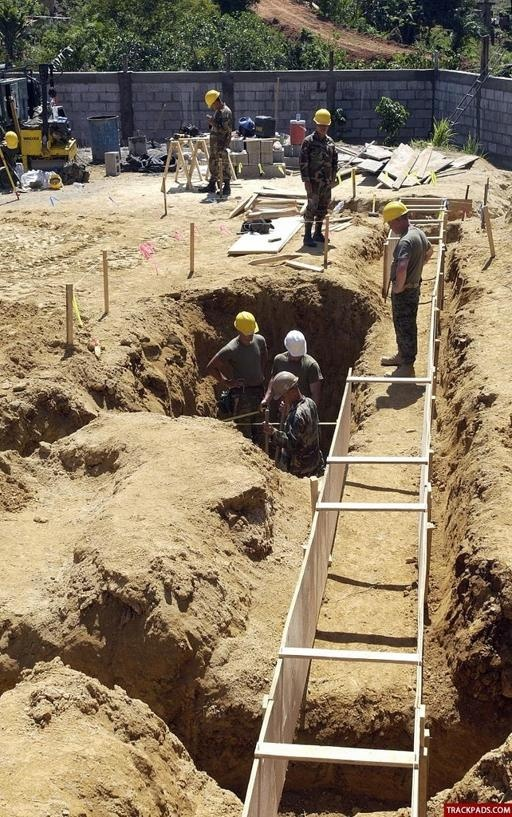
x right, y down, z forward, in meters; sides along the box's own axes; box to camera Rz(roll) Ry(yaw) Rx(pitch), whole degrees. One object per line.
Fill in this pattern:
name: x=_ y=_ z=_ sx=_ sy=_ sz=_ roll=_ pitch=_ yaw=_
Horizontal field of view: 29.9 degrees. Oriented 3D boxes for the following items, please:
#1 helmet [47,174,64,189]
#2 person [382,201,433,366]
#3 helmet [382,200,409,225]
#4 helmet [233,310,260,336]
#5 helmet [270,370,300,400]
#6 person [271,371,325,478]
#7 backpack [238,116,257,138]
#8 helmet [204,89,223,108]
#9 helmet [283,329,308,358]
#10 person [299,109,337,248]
helmet: x=-3.902 y=-4.421 z=18.735 sx=0.276 sy=0.327 sz=0.234 roll=-5 pitch=-9 yaw=-4
person: x=1.503 y=-1.158 z=9.560 sx=0.494 sy=1.733 sz=1.067 roll=0 pitch=13 yaw=8
helmet: x=1.353 y=-1.859 z=9.308 sx=0.260 sy=0.136 sz=0.207 roll=-7 pitch=31 yaw=38
helmet: x=-0.131 y=-0.925 z=10.215 sx=0.238 sy=0.156 sz=0.290 roll=-22 pitch=54 yaw=-22
helmet: x=0.253 y=-0.212 z=8.666 sx=0.221 sy=0.259 sz=0.325 roll=-1 pitch=12 yaw=0
person: x=0.395 y=0.163 z=9.199 sx=0.375 sy=0.430 sz=1.135 roll=9 pitch=-25 yaw=14
backpack: x=-0.188 y=-6.071 z=20.893 sx=0.310 sy=0.430 sz=0.645 roll=-3 pitch=12 yaw=-5
helmet: x=-0.744 y=-5.202 z=16.212 sx=0.194 sy=0.254 sz=0.239 roll=2 pitch=13 yaw=15
helmet: x=0.396 y=-0.655 z=9.543 sx=0.216 sy=0.157 sz=0.294 roll=-6 pitch=46 yaw=-3
person: x=0.855 y=-3.090 z=13.093 sx=0.466 sy=1.773 sz=1.259 roll=-1 pitch=12 yaw=4
